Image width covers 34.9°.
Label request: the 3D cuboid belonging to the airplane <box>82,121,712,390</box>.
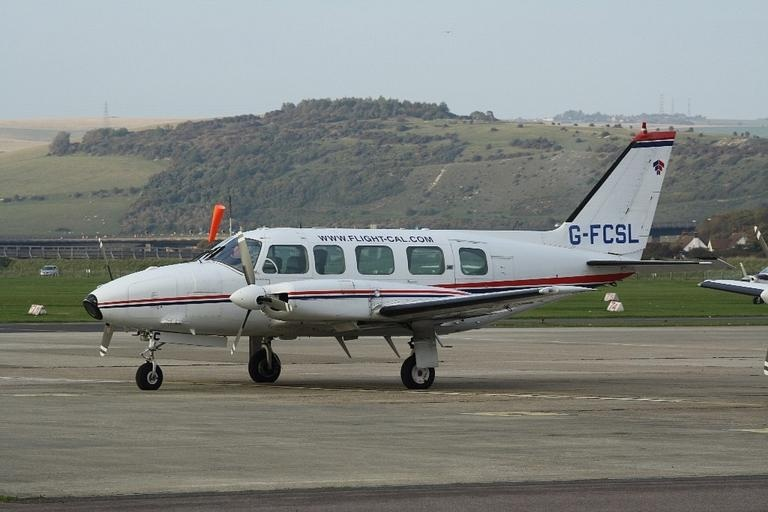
[{"bbox_3d":[0.680,-0.115,35.284,18.194,7.483,6.888,-1,10,-13],"label":"airplane"}]

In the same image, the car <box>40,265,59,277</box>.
[{"bbox_3d":[-30.428,1.376,111.416,1.254,0.509,1.530,1,7,-7],"label":"car"}]
